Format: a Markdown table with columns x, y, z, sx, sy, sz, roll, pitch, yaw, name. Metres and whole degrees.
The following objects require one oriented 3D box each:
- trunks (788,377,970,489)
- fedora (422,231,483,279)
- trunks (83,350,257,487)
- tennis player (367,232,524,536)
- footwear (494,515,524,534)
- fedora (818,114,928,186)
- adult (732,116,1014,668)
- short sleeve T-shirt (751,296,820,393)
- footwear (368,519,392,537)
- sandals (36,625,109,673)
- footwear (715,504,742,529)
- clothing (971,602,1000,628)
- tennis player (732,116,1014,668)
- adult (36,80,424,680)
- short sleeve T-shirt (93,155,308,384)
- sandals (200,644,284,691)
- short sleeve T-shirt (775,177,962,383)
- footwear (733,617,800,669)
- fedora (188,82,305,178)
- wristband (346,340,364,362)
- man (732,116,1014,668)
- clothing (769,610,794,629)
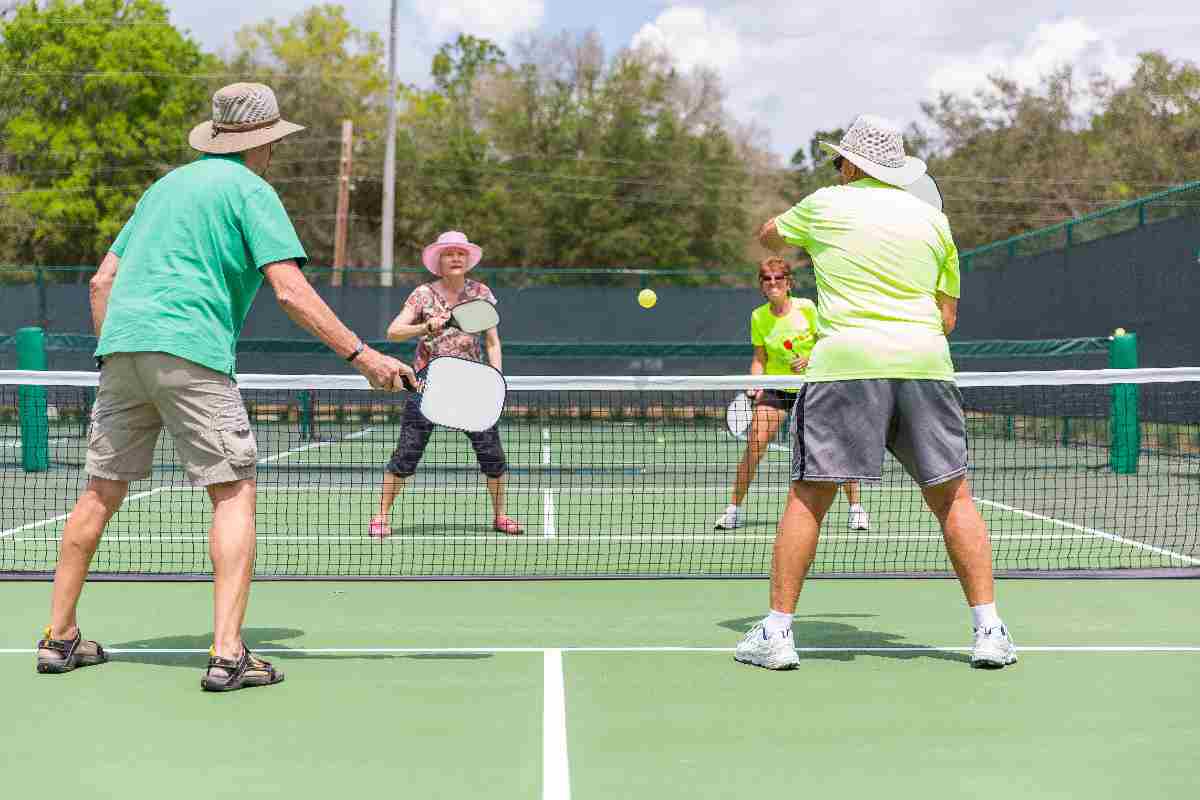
| x | y | z | sx | sy | sz | roll | pitch | yaw | name |
| --- | --- | --- | --- | --- | --- | --- | --- | --- | --- |
| 1.493 | 0.172 | 7.206 | 1.111 | 0.578 | 0.356 | 1 | -2 | -20 | trunks |
| -1.086 | -1.155 | 10.140 | 0.439 | 0.126 | 0.438 | -4 | -34 | -1 | fedora |
| -2.168 | 0.086 | 6.904 | 0.875 | 0.678 | 0.231 | 3 | 11 | 14 | trunks |
| -0.999 | -0.135 | 9.850 | 1.242 | 2.225 | 1.190 | -6 | 13 | -28 | tennis player |
| -0.673 | 0.947 | 10.314 | 0.235 | 0.089 | 0.122 | -1 | -2 | 41 | footwear |
| 1.465 | -1.363 | 7.333 | 0.599 | 0.274 | 0.645 | 0 | 22 | -28 | fedora |
| 1.413 | -0.038 | 7.552 | 1.663 | 2.952 | 1.332 | 1 | -3 | -3 | adult |
| 1.438 | -0.487 | 10.397 | 0.521 | 0.552 | 0.311 | -6 | 23 | 17 | short sleeve T-shirt |
| -1.611 | 0.948 | 10.097 | 0.138 | 0.089 | 0.255 | 1 | -7 | -11 | footwear |
| -2.728 | 1.313 | 7.164 | 0.161 | 0.178 | 0.410 | -1 | 1 | 15 | sandals |
| 0.994 | 0.926 | 10.609 | 0.118 | 0.189 | 0.285 | -5 | -12 | 33 | footwear |
| 2.011 | 1.113 | 7.133 | 0.095 | 0.176 | 0.118 | -16 | 40 | 7 | clothing |
| 1.336 | -0.046 | 7.553 | 1.616 | 3.002 | 1.289 | 1 | -3 | -10 | tennis player |
| -1.971 | -0.132 | 7.227 | 1.950 | 3.082 | 1.207 | 2 | 0 | 22 | adult |
| -2.111 | -0.746 | 7.107 | 1.311 | 1.184 | 0.657 | 1 | -12 | 29 | short sleeve T-shirt |
| -1.780 | 1.351 | 6.950 | 0.496 | 0.213 | 0.166 | 0 | 1 | -39 | sandals |
| 1.474 | -0.549 | 7.394 | 1.012 | 1.189 | 0.828 | 7 | -19 | -14 | short sleeve T-shirt |
| 0.874 | 1.287 | 7.242 | 0.205 | 0.222 | 0.517 | -4 | -2 | -23 | footwear |
| -1.793 | -1.396 | 7.101 | 0.527 | 0.273 | 0.517 | 14 | 29 | 24 | fedora |
| -1.216 | -0.244 | 6.854 | 0.036 | 0.098 | 0.095 | 40 | -40 | -9 | wristband |
| 1.663 | -0.082 | 7.501 | 1.566 | 2.888 | 1.319 | 1 | 0 | 32 | man |
| 0.949 | 1.144 | 7.134 | 0.097 | 0.077 | 0.112 | 2 | -1 | 2 | clothing |
